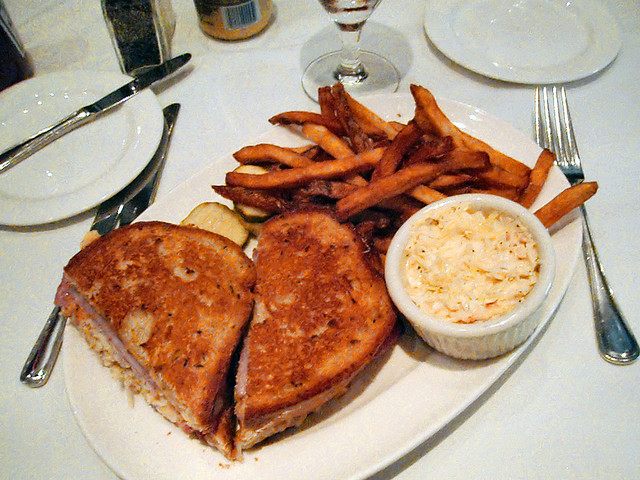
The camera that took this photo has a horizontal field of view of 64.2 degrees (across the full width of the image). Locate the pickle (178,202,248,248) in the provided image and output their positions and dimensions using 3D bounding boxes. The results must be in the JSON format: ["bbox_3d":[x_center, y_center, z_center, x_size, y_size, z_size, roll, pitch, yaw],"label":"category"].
[{"bbox_3d":[-0.528,-0.093,2.629,0.257,0.064,0.250,39,74,10],"label":"pickle"}]

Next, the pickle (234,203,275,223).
[{"bbox_3d":[-0.341,-0.139,2.600,0.120,0.034,0.131,-5,53,-11],"label":"pickle"}]
